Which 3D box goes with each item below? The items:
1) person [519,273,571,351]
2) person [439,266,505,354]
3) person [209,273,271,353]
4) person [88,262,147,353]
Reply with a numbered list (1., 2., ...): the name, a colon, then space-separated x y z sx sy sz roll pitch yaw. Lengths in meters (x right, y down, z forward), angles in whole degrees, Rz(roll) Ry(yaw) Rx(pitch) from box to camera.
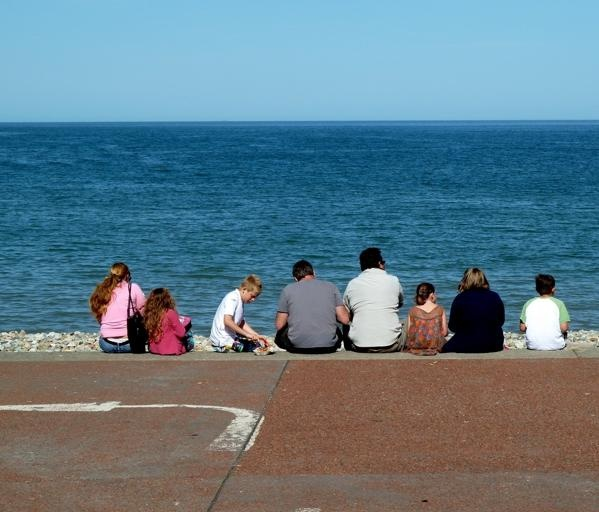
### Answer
1. person: 2.974 0.687 16.001 0.567 0.875 0.603 2 9 9
2. person: 2.118 0.656 15.941 0.978 0.984 0.880 -7 -8 34
3. person: -0.814 0.666 16.478 0.965 1.060 0.852 3 10 1
4. person: -2.245 0.577 16.303 0.801 1.022 0.908 13 17 39
